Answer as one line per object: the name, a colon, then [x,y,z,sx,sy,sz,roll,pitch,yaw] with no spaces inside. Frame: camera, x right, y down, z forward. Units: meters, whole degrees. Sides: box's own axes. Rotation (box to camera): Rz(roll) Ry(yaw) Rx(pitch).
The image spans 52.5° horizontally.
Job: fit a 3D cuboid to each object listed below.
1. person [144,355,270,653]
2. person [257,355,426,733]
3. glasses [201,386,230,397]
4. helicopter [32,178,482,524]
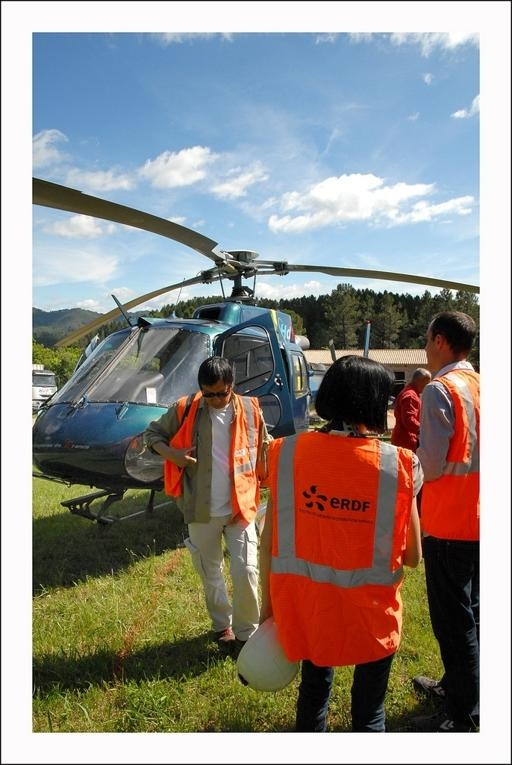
person: [-0.255,0.797,3.033,0.681,1.465,0.371,-1,2,0]
person: [0.282,0.619,1.796,0.481,1.425,0.389,1,12,8]
glasses: [-0.220,0.057,2.911,0.154,0.057,0.095,-1,2,-6]
helicopter: [-0.252,0.022,5.343,2.940,1.464,3.632,-3,-5,35]
